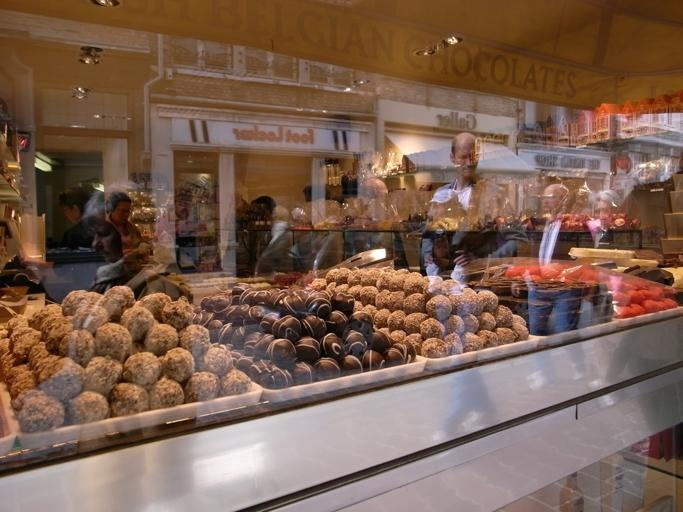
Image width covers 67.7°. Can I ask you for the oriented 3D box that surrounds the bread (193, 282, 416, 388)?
[{"bbox_3d":[-0.121,0.184,1.509,0.349,0.116,0.397,-1,4,-35],"label":"bread"}]
